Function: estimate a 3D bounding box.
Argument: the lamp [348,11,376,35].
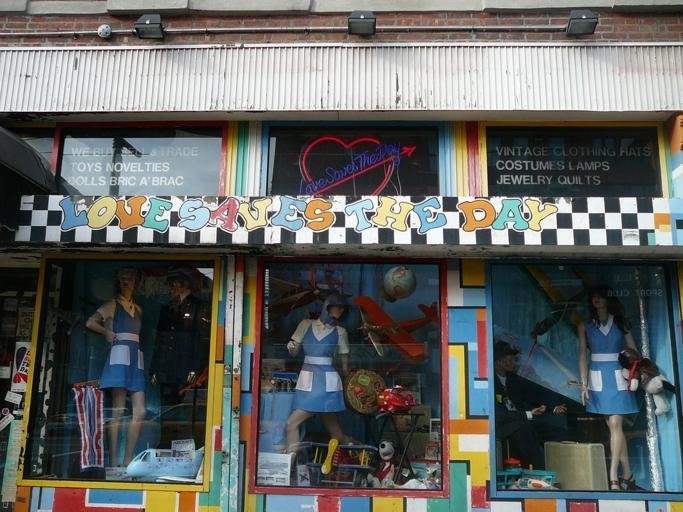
[{"bbox_3d":[0.271,-2.798,10.513,0.331,0.307,0.242,1,18,0],"label":"lamp"}]

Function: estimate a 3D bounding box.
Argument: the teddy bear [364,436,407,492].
[{"bbox_3d":[0.526,2.401,9.986,0.494,0.781,0.253,-1,-20,8],"label":"teddy bear"}]

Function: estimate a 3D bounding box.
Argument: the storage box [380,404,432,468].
[{"bbox_3d":[0.802,2.007,10.045,0.678,0.724,0.448,2,-15,4],"label":"storage box"}]

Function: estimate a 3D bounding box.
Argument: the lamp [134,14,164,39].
[{"bbox_3d":[-2.316,-2.819,10.680,0.361,0.308,0.216,1,-13,-5],"label":"lamp"}]

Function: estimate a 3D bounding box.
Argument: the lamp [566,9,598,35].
[{"bbox_3d":[2.884,-2.754,10.445,0.301,0.199,0.309,15,-29,0],"label":"lamp"}]
